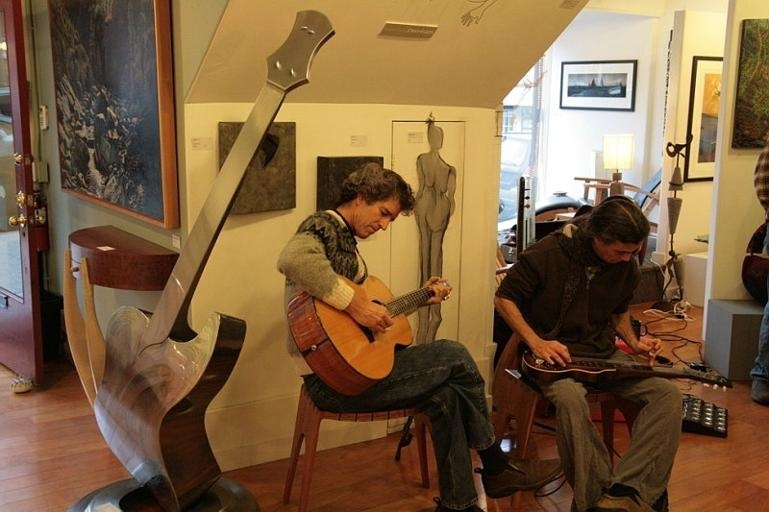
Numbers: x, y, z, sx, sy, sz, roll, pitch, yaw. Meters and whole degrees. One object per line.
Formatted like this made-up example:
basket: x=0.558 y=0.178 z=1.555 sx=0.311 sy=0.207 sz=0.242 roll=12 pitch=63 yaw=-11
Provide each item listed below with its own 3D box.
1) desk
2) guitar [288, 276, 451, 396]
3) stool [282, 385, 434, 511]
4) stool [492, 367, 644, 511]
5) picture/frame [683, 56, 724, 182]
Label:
desk: x=-1.708 y=0.444 z=3.723 sx=0.989 sy=0.995 sz=0.414 roll=10 pitch=5 yaw=44
guitar: x=-0.072 y=0.345 z=2.884 sx=0.159 sy=0.396 sz=0.693 roll=-33 pitch=-8 yaw=35
stool: x=-0.156 y=1.043 z=3.336 sx=0.623 sy=0.535 sz=0.350 roll=-1 pitch=17 yaw=-20
stool: x=1.006 y=0.847 z=3.351 sx=0.639 sy=0.668 sz=0.667 roll=3 pitch=6 yaw=-21
picture/frame: x=3.432 y=-1.464 z=6.683 sx=0.522 sy=1.340 sz=0.170 roll=-4 pitch=10 yaw=-34
